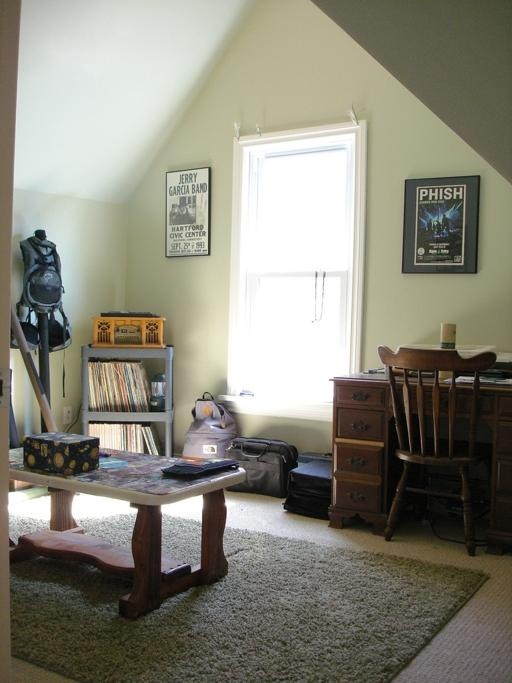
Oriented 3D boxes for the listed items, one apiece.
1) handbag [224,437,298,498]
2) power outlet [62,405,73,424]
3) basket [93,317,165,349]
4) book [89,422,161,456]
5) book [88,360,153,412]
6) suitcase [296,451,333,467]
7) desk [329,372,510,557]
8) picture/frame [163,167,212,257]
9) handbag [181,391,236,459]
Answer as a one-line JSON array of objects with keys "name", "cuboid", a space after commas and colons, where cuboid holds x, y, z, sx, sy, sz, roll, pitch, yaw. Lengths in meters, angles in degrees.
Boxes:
[{"name": "handbag", "cuboid": [0.024, 0.778, 3.366, 0.380, 0.329, 0.252, 0, -10, 26]}, {"name": "power outlet", "cuboid": [-1.309, 0.506, 3.796, 0.015, 0.152, 0.135, 0, 2, 19]}, {"name": "basket", "cuboid": [-0.860, -0.062, 3.706, 0.471, 0.223, 0.128, 2, -2, -18]}, {"name": "book", "cuboid": [-0.874, 0.647, 3.710, 0.447, 0.141, 0.338, 1, 1, 35]}, {"name": "book", "cuboid": [-0.939, 0.246, 3.817, 0.316, 0.427, 0.427, -2, -1, 0]}, {"name": "suitcase", "cuboid": [0.346, 0.707, 3.268, 0.195, 0.061, 0.370, 1, -2, 7]}, {"name": "desk", "cuboid": [0.746, 0.576, 2.547, 0.770, 0.597, 0.315, 0, -2, 21]}, {"name": "picture/frame", "cuboid": [-0.484, -0.917, 3.932, 0.376, 0.612, 0.076, 0, -3, 31]}, {"name": "handbag", "cuboid": [-0.298, 0.595, 3.662, 0.306, 0.438, 0.271, -5, -7, 36]}]
